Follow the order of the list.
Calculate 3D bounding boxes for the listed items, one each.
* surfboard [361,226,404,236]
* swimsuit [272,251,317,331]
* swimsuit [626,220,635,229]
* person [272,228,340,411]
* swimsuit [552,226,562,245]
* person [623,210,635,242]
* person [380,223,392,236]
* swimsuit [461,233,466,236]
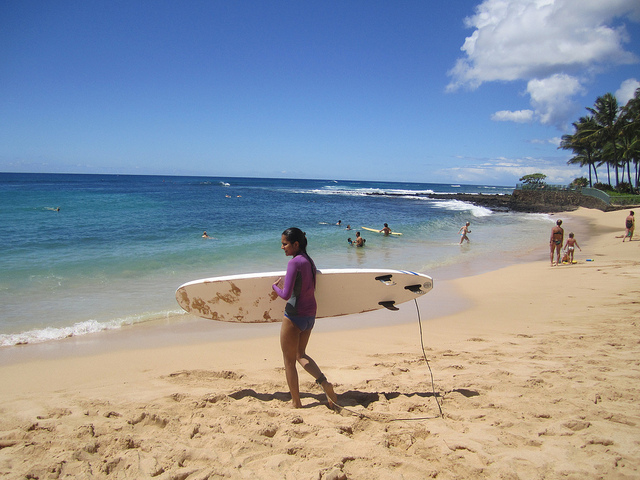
[{"bbox_3d":[3.065,-0.439,21.599,2.660,0.289,0.211,9,22,43],"label":"surfboard"},{"bbox_3d":[-0.257,0.585,5.051,0.467,0.910,0.259,-3,5,-10],"label":"swimsuit"},{"bbox_3d":[10.194,-0.523,14.725,0.170,0.292,0.337,0,5,32],"label":"swimsuit"},{"bbox_3d":[-0.168,0.928,5.293,0.699,2.141,0.677,-3,5,-6],"label":"person"},{"bbox_3d":[6.455,-0.099,12.149,0.228,0.426,0.115,-1,5,17],"label":"swimsuit"},{"bbox_3d":[10.326,-0.458,14.989,0.279,0.980,0.959,0,5,33],"label":"person"},{"bbox_3d":[2.910,-0.456,20.023,0.420,0.556,1.624,-2,4,8],"label":"person"},{"bbox_3d":[5.974,-0.233,18.649,0.106,0.181,0.146,1,1,40],"label":"swimsuit"}]
